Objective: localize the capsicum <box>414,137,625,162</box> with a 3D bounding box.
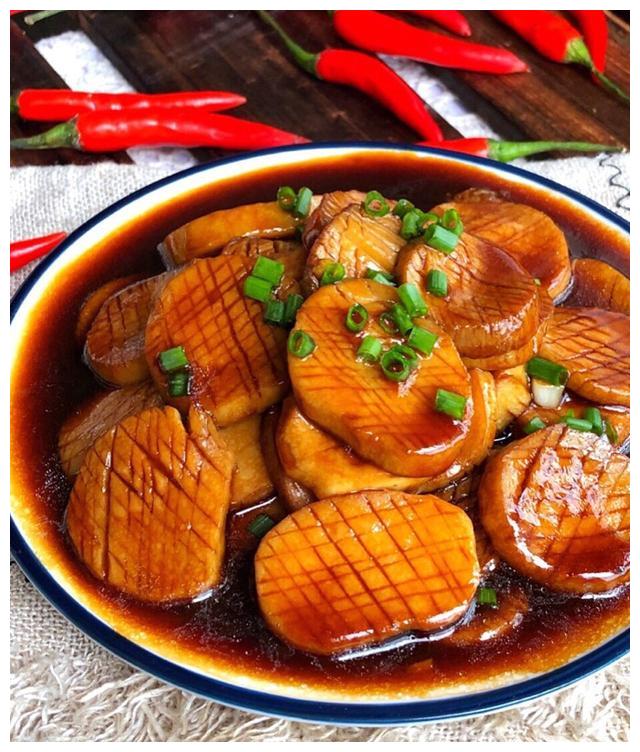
[{"bbox_3d":[1.028,-1.149,4.196,0.724,0.099,0.908,-8,15,-29],"label":"capsicum"}]
